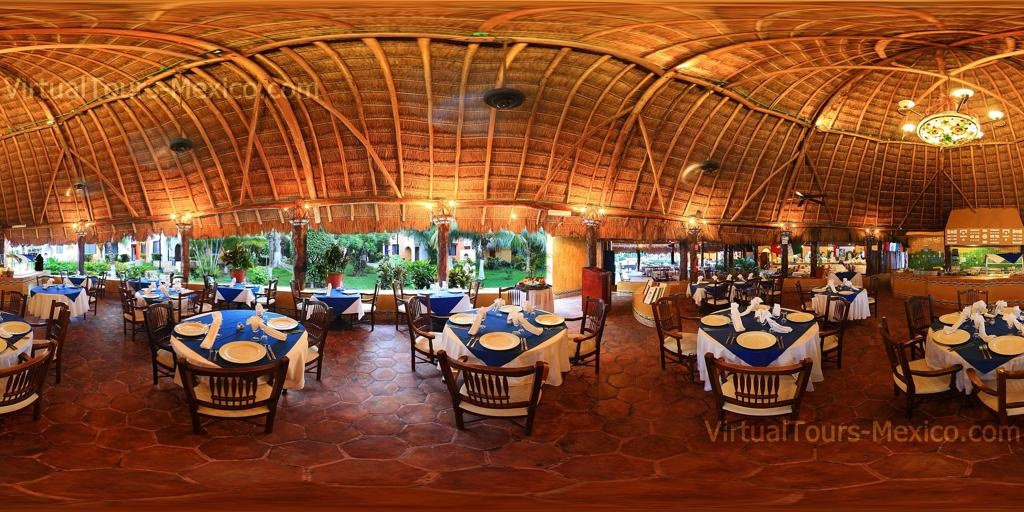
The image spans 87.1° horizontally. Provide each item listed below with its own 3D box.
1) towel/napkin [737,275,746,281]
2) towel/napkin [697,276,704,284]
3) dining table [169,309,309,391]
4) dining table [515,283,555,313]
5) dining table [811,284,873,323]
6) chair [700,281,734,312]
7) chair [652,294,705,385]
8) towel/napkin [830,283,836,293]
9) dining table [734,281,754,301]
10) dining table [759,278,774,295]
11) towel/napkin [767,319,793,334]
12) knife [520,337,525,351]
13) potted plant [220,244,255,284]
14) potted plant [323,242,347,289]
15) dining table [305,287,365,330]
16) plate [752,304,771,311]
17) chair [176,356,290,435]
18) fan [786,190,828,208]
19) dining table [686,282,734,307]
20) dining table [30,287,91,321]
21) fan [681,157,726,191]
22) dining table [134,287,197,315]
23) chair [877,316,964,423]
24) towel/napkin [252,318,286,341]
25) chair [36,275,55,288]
[{"bbox_3d":[9.107,0.880,21.659,0.201,0.086,0.245,-4,-39,36],"label":"towel/napkin"},{"bbox_3d":[7.638,0.962,22.031,0.339,0.235,0.286,0,-3,6],"label":"towel/napkin"},{"bbox_3d":[-6.951,2.437,14.751,3.121,0.840,2.812,14,14,18],"label":"dining table"},{"bbox_3d":[0.694,1.513,19.445,1.383,0.692,1.208,0,-1,16],"label":"dining table"},{"bbox_3d":[11.444,1.595,18.831,1.721,0.719,1.851,-2,1,43],"label":"dining table"},{"bbox_3d":[7.602,1.521,20.163,1.222,1.232,0.896,-6,28,-3],"label":"chair"},{"bbox_3d":[4.704,2.340,15.830,1.215,2.210,1.527,0,4,14],"label":"chair"},{"bbox_3d":[11.162,1.131,18.888,0.190,0.234,0.601,2,4,41],"label":"towel/napkin"},{"bbox_3d":[8.821,1.385,20.606,0.727,0.785,0.840,0,4,22],"label":"dining table"},{"bbox_3d":[9.828,1.234,20.964,0.644,0.664,0.589,5,45,23],"label":"dining table"},{"bbox_3d":[7.137,1.908,14.505,0.552,0.138,0.380,8,30,26],"label":"towel/napkin"},{"bbox_3d":[0.240,2.335,14.198,0.159,0.031,0.424,3,27,-4],"label":"knife"},{"bbox_3d":[-10.885,0.332,21.398,0.903,1.375,1.369,-4,5,-29],"label":"potted plant"},{"bbox_3d":[-6.850,0.351,20.818,0.755,1.584,2.229,-3,4,-19],"label":"potted plant"},{"bbox_3d":[-6.134,1.814,18.601,1.814,0.690,1.529,3,3,5],"label":"dining table"},{"bbox_3d":[6.951,1.465,15.210,0.393,0.040,0.363,-10,11,-35],"label":"plate"},{"bbox_3d":[-7.081,3.472,14.023,2.433,2.377,1.851,6,21,-11],"label":"chair"},{"bbox_3d":[13.472,-2.605,24.771,1.271,0.220,1.045,-10,5,-33],"label":"fan"},{"bbox_3d":[7.601,1.431,20.649,1.209,0.502,1.219,1,1,-1],"label":"dining table"},{"bbox_3d":[-15.407,1.624,18.325,1.429,0.604,1.493,18,12,41],"label":"dining table"},{"bbox_3d":[7.868,-3.458,22.863,1.814,0.391,1.138,-8,-32,-1],"label":"fan"},{"bbox_3d":[-11.512,1.445,18.102,1.872,0.363,1.587,9,7,4],"label":"dining table"},{"bbox_3d":[10.425,2.898,14.131,1.822,2.332,1.200,-2,5,-13],"label":"chair"},{"bbox_3d":[-6.540,1.992,14.451,1.151,0.340,0.289,22,7,15],"label":"towel/napkin"},{"bbox_3d":[-17.980,0.991,20.784,0.382,0.434,0.425,22,16,30],"label":"chair"}]
